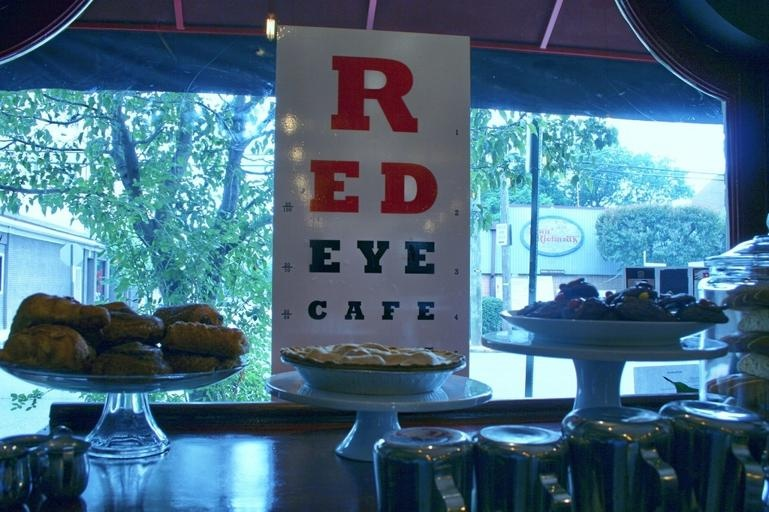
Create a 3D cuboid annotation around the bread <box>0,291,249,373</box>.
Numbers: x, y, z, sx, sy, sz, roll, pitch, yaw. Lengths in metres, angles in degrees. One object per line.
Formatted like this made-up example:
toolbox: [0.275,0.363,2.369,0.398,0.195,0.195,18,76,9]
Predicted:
bread: [-0.606,0.181,1.669,0.550,0.191,0.190,1,-6,-12]
